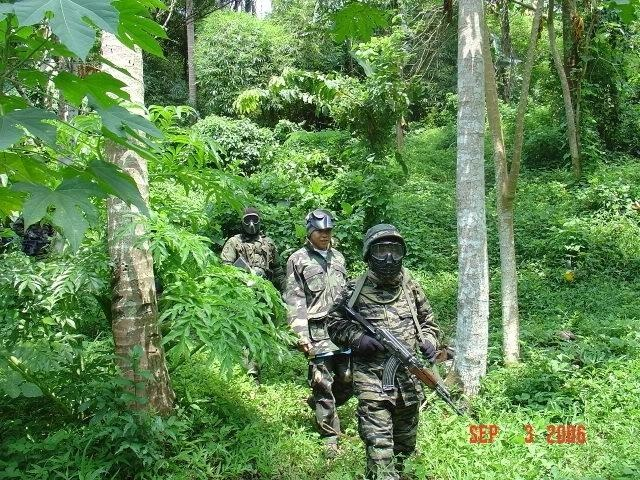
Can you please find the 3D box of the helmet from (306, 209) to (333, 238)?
[{"bbox_3d":[-0.011,-0.211,7.768,0.260,0.249,0.332,2,19,-19],"label":"helmet"}]

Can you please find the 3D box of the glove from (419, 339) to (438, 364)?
[{"bbox_3d":[1.059,1.078,6.294,0.073,0.204,0.159,-25,6,30],"label":"glove"}]

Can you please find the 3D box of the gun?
[{"bbox_3d":[0.788,1.168,6.263,1.140,1.021,0.435,0,2,7],"label":"gun"}]

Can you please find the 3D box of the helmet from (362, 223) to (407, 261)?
[{"bbox_3d":[0.630,0.021,6.624,0.311,0.313,0.432,3,-11,-1],"label":"helmet"}]

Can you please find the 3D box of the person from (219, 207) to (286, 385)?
[{"bbox_3d":[-1.008,0.685,8.935,0.811,2.290,1.335,0,2,14],"label":"person"}]
